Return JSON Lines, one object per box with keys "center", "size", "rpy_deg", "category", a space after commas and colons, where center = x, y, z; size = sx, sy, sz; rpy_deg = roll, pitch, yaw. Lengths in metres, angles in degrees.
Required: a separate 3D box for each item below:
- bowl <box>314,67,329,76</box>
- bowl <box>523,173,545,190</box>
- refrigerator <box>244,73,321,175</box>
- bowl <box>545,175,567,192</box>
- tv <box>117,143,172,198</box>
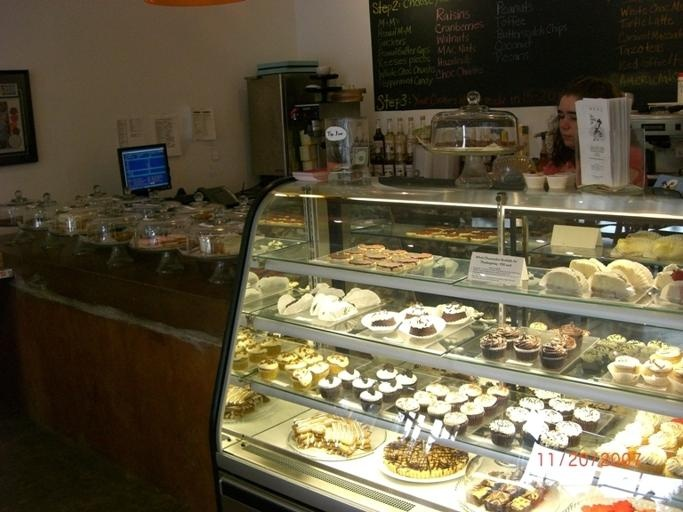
{"center": [-0.176, -1.757, 4.860], "size": [0.116, 0.075, 0.113], "rpy_deg": [-1, 7, 0], "category": "bowl"}
{"center": [0.684, -0.260, 1.817], "size": [0.063, 0.038, 0.061], "rpy_deg": [0, 3, 0], "category": "bowl"}
{"center": [-0.612, -1.289, 5.069], "size": [0.667, 0.967, 0.342], "rpy_deg": [-5, 12, -1], "category": "refrigerator"}
{"center": [0.747, -0.254, 1.769], "size": [0.071, 0.050, 0.111], "rpy_deg": [0, 12, 21], "category": "bowl"}
{"center": [-1.577, -0.673, 4.050], "size": [0.183, 0.480, 0.520], "rpy_deg": [6, 18, 41], "category": "tv"}
